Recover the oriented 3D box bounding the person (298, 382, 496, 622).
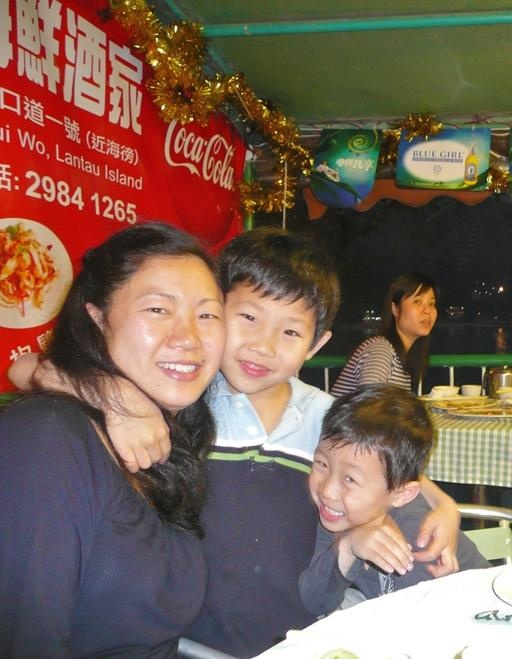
[{"bbox_3d":[0.387,0.528,1.728,0.494,0.642,0.640,7,8,35],"label":"person"}]

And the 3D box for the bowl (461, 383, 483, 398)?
[{"bbox_3d":[1.407,0.405,3.920,0.109,0.069,0.093,-3,5,3],"label":"bowl"}]

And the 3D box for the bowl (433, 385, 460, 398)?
[{"bbox_3d":[1.198,0.402,3.872,0.110,0.041,0.101,-1,4,0],"label":"bowl"}]
